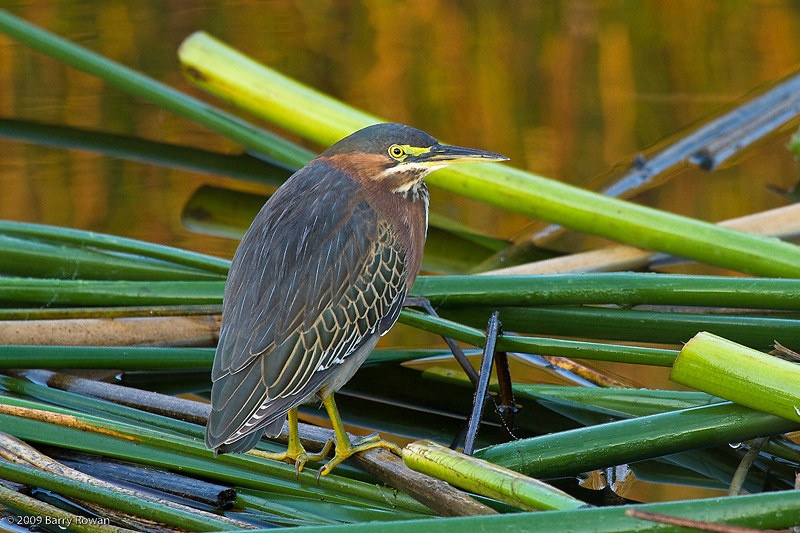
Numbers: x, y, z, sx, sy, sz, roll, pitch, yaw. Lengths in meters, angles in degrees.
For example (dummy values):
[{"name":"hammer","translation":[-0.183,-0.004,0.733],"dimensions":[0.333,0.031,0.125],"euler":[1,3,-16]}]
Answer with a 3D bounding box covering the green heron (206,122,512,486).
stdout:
[{"name":"green heron","translation":[-0.420,0.149,6.300],"dimensions":[1.712,1.603,0.962],"euler":[-9,11,-36]}]
